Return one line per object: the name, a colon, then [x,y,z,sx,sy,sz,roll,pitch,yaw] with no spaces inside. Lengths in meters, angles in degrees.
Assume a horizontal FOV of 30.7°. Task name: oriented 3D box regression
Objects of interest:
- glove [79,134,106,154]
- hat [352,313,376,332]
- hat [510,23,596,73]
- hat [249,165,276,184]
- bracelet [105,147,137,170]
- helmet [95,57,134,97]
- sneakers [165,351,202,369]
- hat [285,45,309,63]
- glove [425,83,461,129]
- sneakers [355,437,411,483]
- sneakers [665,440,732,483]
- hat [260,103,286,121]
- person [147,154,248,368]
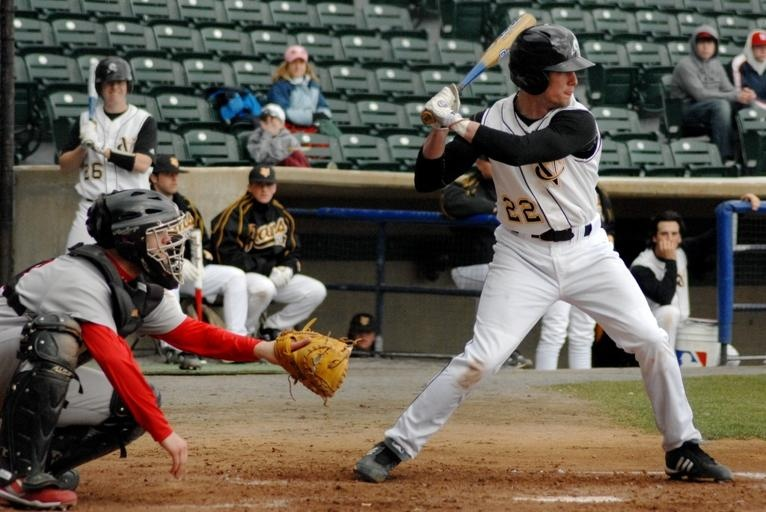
glove: [-2.566,-0.970,12.320,0.194,0.159,0.134,-2,5,-11]
hat: [-0.195,0.700,14.583,0.242,0.109,0.299,1,-4,-4]
hat: [1.286,-1.571,10.530,0.728,0.316,0.528,6,24,31]
hat: [-1.178,-0.778,13.619,0.256,0.182,0.163,-1,5,-6]
bracelet: [-2.338,-0.845,12.464,0.231,0.181,0.121,-2,5,-11]
helmet: [-2.453,-1.612,12.571,0.339,0.327,0.414,-6,4,-18]
sneakers: [-1.868,0.972,13.020,0.264,0.081,0.181,5,0,22]
hat: [-0.953,-2.192,15.372,0.253,0.160,0.316,-2,4,-9]
glove: [0.447,-1.113,10.443,0.283,0.319,0.337,-1,5,1]
sneakers: [-0.023,1.536,10.489,0.415,0.216,0.182,-35,1,-29]
sneakers: [2.387,1.545,10.523,0.245,0.258,0.632,-8,3,-31]
hat: [-1.157,-1.495,14.622,0.229,0.179,0.317,-1,4,-1]
person: [-1.748,0.000,13.491,1.302,1.922,0.863,0,17,14]
